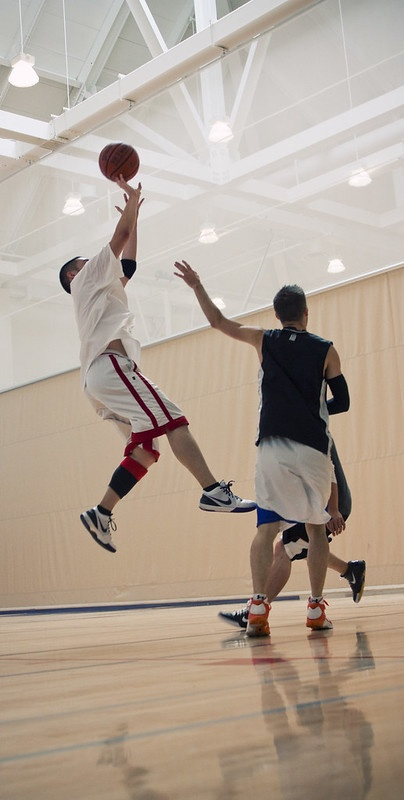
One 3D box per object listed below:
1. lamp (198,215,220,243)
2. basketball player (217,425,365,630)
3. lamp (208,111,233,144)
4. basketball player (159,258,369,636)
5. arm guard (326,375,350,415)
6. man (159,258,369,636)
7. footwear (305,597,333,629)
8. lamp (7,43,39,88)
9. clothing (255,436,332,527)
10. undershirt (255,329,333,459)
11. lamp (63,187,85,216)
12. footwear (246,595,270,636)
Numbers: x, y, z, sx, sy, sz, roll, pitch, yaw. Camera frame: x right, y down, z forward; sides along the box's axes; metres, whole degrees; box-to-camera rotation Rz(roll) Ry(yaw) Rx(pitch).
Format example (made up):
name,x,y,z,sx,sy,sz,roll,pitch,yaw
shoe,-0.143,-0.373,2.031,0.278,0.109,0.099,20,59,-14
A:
name,x,y,z,sx,sy,sz,roll,pitch,yaw
lamp,0.052,-1.796,5.944,0.250,0.274,0.258,1,-9,-20
basketball player,0.345,0.449,2.195,0.580,0.812,0.398,-4,-9,-5
lamp,0.206,-2.874,6.020,0.264,0.314,0.294,-2,-6,33
basketball player,0.276,0.218,1.969,0.519,1.284,0.729,-3,3,11
arm guard,0.506,-0.020,2.072,0.045,0.145,0.105,-3,34,13
man,0.281,0.218,1.960,0.505,1.284,0.713,-3,3,11
footwear,0.392,0.728,1.858,0.049,0.089,0.126,-2,-15,16
lamp,-1.851,-3.491,5.721,0.265,0.397,0.439,-5,3,-19
clothing,0.309,0.300,1.979,0.308,0.448,0.250,0,-16,4
undershirt,0.338,-0.068,2.006,0.263,0.515,0.196,13,47,20
lamp,-1.620,-2.471,7.047,0.288,0.324,0.313,0,-11,-2
footwear,0.169,0.675,1.708,0.068,0.094,0.176,-3,3,5
